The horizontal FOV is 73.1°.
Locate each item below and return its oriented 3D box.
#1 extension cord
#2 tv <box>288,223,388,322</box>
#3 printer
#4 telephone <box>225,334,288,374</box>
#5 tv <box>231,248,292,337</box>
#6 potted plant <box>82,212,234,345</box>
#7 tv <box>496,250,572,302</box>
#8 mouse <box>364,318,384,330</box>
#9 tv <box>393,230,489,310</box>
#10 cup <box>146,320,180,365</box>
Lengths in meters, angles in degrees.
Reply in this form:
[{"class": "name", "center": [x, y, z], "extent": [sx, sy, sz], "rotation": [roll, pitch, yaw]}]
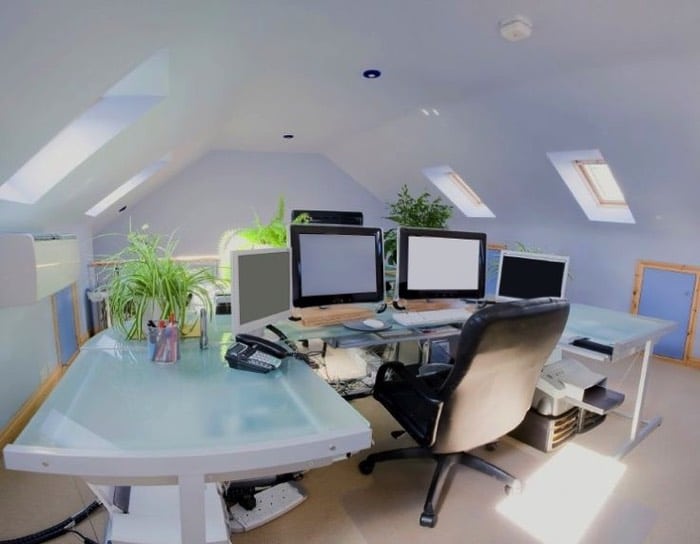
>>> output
[{"class": "extension cord", "center": [-0.451, 1.295, 2.607], "extent": [0.330, 0.043, 0.159], "rotation": [-12, 26, -43]}, {"class": "tv", "center": [-0.089, 0.003, 2.807], "extent": [0.612, 0.473, 0.081], "rotation": [-1, 2, -30]}, {"class": "printer", "center": [1.448, 0.751, 2.999], "extent": [0.439, 0.139, 0.372], "rotation": [-9, 15, -39]}, {"class": "telephone", "center": [-0.445, 0.388, 2.208], "extent": [0.217, 0.071, 0.161], "rotation": [7, 22, 4]}, {"class": "tv", "center": [-0.464, 0.103, 2.426], "extent": [0.155, 0.443, 0.450], "rotation": [3, 6, 29]}, {"class": "potted plant", "center": [-1.058, 0.004, 2.608], "extent": [0.669, 0.471, 0.657], "rotation": [1, 7, -18]}, {"class": "tv", "center": [1.277, 0.034, 3.338], "extent": [0.486, 0.404, 0.034], "rotation": [6, 0, 43]}, {"class": "mouse", "center": [0.140, 0.302, 2.736], "extent": [0.056, 0.018, 0.074], "rotation": [-5, 16, -26]}, {"class": "tv", "center": [0.601, -0.014, 3.126], "extent": [0.565, 0.407, 0.066], "rotation": [0, 3, -21]}, {"class": "cup", "center": [-0.879, 0.328, 2.225], "extent": [0.153, 0.195, 0.193], "rotation": [6, 6, 32]}]
